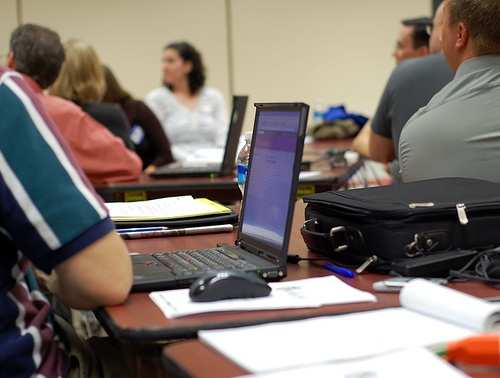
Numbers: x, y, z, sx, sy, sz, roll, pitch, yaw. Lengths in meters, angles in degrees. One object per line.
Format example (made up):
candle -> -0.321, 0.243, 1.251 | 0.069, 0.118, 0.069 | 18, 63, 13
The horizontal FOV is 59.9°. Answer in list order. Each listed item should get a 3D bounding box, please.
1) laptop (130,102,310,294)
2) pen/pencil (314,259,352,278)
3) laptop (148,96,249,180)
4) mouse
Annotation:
laptop -> -0.044, -0.004, 1.003 | 0.408, 0.315, 0.374 | -4, 9, -13
pen/pencil -> 0.191, 0.176, 0.969 | 0.018, 0.017, 0.096 | -6, 9, -24
laptop -> -0.245, -0.235, 2.364 | 0.417, 0.380, 0.507 | 1, 9, 6
mouse -> -0.035, 0.168, 0.804 | 0.116, 0.040, 0.061 | -3, 2, -18
